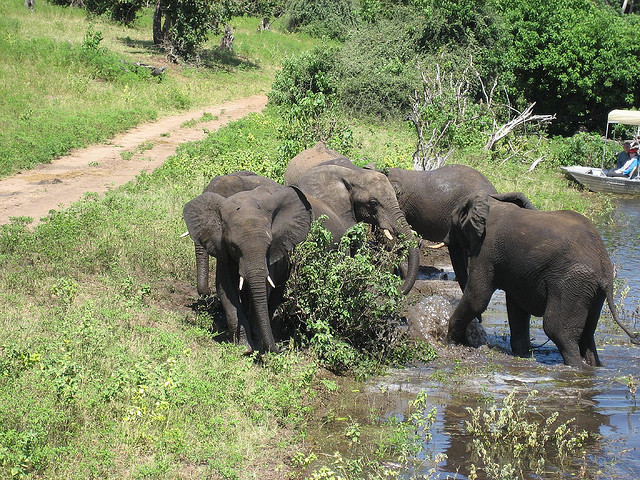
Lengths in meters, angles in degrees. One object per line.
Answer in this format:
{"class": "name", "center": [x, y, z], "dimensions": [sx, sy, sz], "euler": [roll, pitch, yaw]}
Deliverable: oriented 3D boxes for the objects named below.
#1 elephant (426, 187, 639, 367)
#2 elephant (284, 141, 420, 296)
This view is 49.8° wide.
{"class": "elephant", "center": [3.036, 0.673, 9.925], "dimensions": [2.520, 2.327, 0.922], "euler": [19, 22, 31]}
{"class": "elephant", "center": [0.390, -0.290, 11.545], "dimensions": [1.507, 2.155, 3.565], "euler": [-11, 23, -31]}
